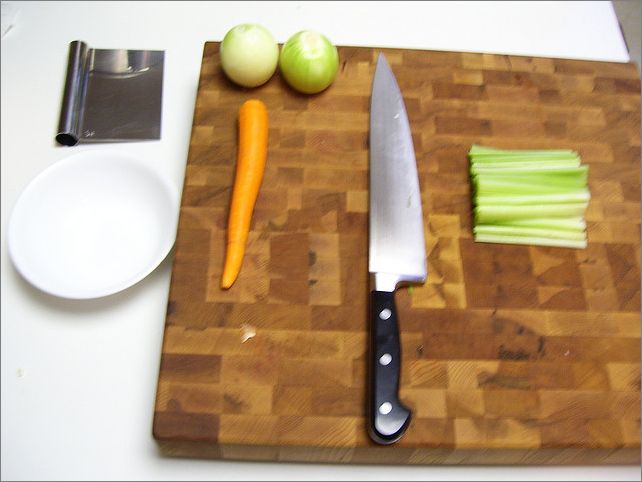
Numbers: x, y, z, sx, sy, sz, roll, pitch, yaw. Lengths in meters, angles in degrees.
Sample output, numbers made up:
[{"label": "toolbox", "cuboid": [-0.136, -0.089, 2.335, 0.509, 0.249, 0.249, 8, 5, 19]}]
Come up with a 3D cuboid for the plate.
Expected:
[{"label": "plate", "cuboid": [-0.647, -0.061, 1.733, 0.415, 0.102, 0.424, 22, 70, 0]}]

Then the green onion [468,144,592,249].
[{"label": "green onion", "cuboid": [0.577, -0.116, 1.790, 0.287, 0.081, 0.276, 2, 77, -3]}]
